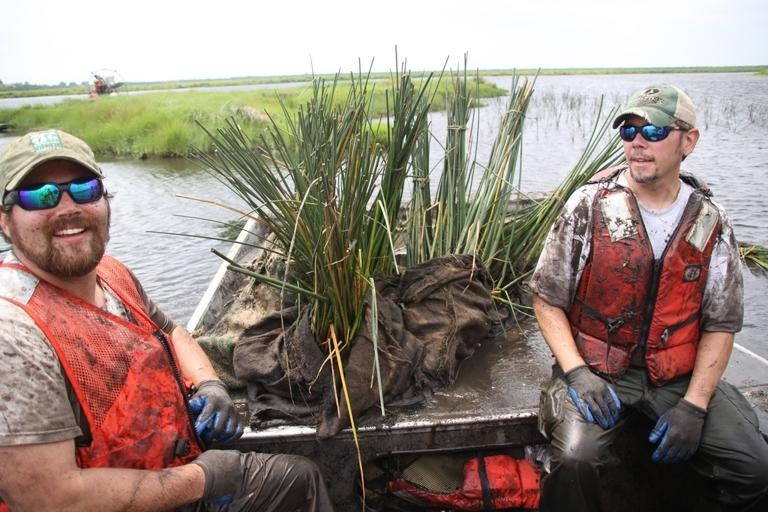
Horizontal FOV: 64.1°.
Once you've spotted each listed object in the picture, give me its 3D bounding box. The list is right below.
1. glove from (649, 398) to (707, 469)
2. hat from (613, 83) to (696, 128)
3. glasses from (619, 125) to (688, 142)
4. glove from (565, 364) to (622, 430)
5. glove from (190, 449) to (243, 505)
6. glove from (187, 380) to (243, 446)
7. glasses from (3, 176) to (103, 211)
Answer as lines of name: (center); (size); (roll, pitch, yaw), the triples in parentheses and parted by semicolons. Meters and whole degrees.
glove: (1.571, 0.958, 3.307); (0.240, 0.357, 0.112); (25, 12, 11)
hat: (1.523, -0.796, 3.468); (0.336, 0.211, 0.254); (11, 6, -11)
glasses: (1.496, -0.679, 3.399); (0.343, 0.106, 0.091); (4, 27, 11)
glove: (1.134, 0.759, 3.344); (0.226, 0.319, 0.101); (-32, -10, -1)
glove: (-0.855, 1.113, 3.105); (0.130, 0.250, 0.237); (25, 23, 38)
glove: (-0.926, 0.798, 3.314); (0.265, 0.155, 0.333); (7, 43, -44)
glasses: (-1.538, -0.289, 2.866); (0.425, 0.118, 0.120); (-15, 29, -25)
